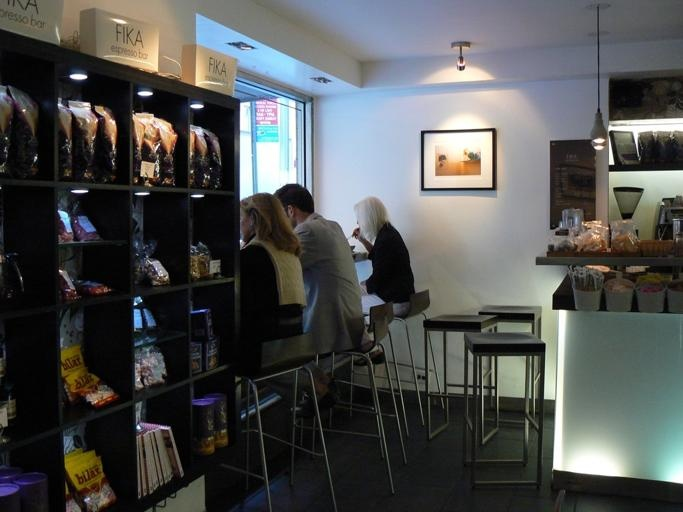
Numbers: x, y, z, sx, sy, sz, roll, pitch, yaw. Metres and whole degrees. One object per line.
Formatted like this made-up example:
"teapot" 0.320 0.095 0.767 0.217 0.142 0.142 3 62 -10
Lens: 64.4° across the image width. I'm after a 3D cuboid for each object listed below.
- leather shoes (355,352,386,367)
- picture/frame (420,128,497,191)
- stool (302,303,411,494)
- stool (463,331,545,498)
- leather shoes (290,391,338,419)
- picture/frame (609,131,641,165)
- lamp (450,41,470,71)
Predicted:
"leather shoes" 0.259 0.787 4.207 0.131 0.074 0.179 -4 1 1
"picture/frame" 1.154 -0.932 5.165 0.561 0.498 0.027 1 2 19
"stool" 0.365 0.949 4.489 0.950 1.897 0.950 2 -2 13
"stool" 1.168 0.997 3.990 0.617 1.050 1.494 2 7 21
"leather shoes" -0.151 0.876 3.280 0.353 0.155 0.134 -26 29 44
"picture/frame" 2.601 -0.991 4.982 0.282 0.318 0.202 0 6 2
"lamp" 1.056 -1.770 4.799 0.196 0.228 0.207 1 11 9
